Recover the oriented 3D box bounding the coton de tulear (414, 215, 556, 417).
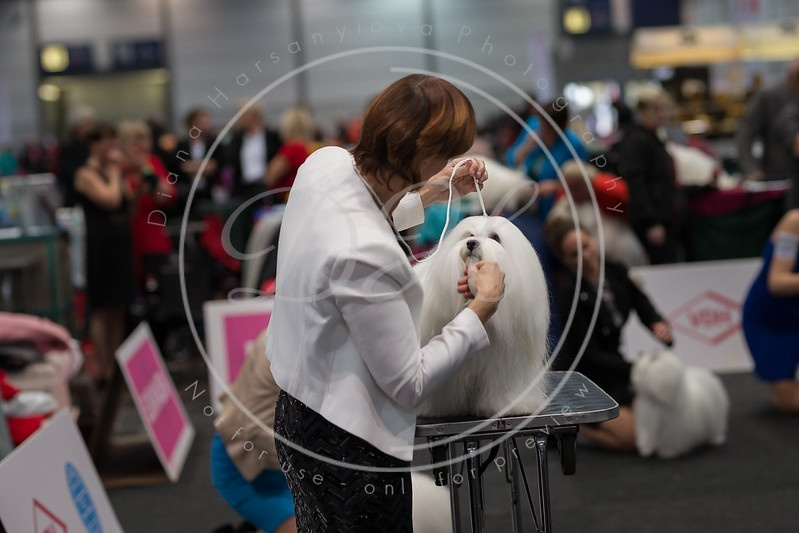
[{"bbox_3d":[0.490,0.291,5.445,0.648,1.012,0.923,-1,-1,6],"label":"coton de tulear"}]

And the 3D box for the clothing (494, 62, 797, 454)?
[{"bbox_3d":[1.771,-0.019,6.748,0.986,3.539,1.343,-13,22,-12],"label":"clothing"}]

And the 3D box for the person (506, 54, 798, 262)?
[{"bbox_3d":[1.929,-0.759,7.185,1.327,1.627,0.350,7,3,31],"label":"person"}]

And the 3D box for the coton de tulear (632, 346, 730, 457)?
[{"bbox_3d":[1.929,0.903,6.975,0.671,0.873,0.523,-5,7,7],"label":"coton de tulear"}]
